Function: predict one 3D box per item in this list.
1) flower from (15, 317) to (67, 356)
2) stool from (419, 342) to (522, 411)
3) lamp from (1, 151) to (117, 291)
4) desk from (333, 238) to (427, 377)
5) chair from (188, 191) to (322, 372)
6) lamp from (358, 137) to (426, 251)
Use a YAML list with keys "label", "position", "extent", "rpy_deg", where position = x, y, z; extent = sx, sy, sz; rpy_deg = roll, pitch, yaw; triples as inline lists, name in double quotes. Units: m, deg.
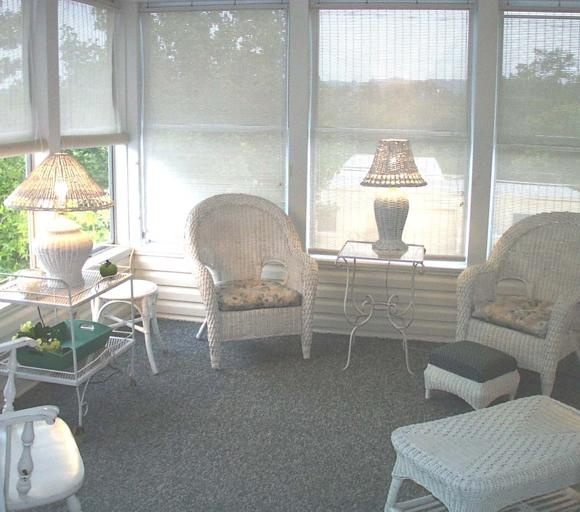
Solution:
- label: "flower"
  position: [-1.399, 0.456, 3.088]
  extent: [0.177, 0.082, 0.168]
  rpy_deg: [29, 27, -24]
- label: "stool"
  position: [1.119, 0.690, 3.433]
  extent: [0.434, 0.353, 0.544]
  rpy_deg: [-11, 17, -30]
- label: "lamp"
  position: [-1.261, -0.277, 3.605]
  extent: [0.837, 0.920, 0.801]
  rpy_deg: [-2, 10, -12]
- label: "desk"
  position: [0.731, 0.419, 4.425]
  extent: [0.886, 0.814, 0.862]
  rpy_deg: [2, 3, -6]
- label: "chair"
  position: [-0.307, 0.157, 4.251]
  extent: [0.949, 1.192, 0.794]
  rpy_deg: [-3, 14, -10]
- label: "lamp"
  position: [0.764, -0.437, 4.063]
  extent: [0.392, 0.817, 0.497]
  rpy_deg: [11, 18, 37]
